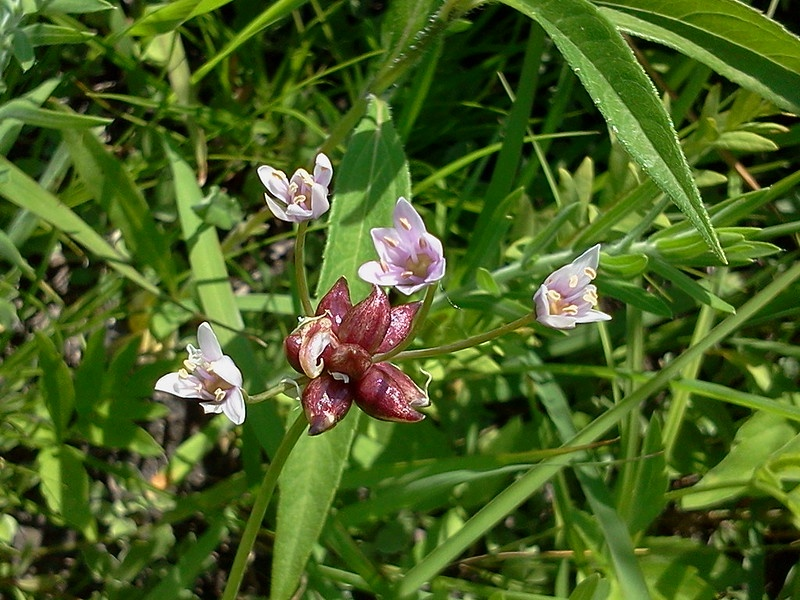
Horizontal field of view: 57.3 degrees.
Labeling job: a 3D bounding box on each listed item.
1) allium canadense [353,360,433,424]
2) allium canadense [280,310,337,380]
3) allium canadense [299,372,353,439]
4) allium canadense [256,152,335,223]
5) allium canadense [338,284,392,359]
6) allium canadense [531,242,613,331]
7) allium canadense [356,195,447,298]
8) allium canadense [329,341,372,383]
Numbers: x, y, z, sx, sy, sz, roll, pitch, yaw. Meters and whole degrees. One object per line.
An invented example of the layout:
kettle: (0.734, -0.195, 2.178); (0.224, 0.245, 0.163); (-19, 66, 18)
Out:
allium canadense: (-0.013, 0.258, 1.971); (0.197, 0.076, 0.141); (32, 60, 17)
allium canadense: (-0.217, 0.119, 1.940); (0.150, 0.133, 0.135); (-29, 63, -20)
allium canadense: (-0.193, 0.263, 1.955); (0.143, 0.077, 0.219); (9, 57, 6)
allium canadense: (-0.285, -0.335, 2.097); (0.202, 0.153, 0.218); (-18, 47, 11)
allium canadense: (-0.094, 0.064, 1.993); (0.132, 0.064, 0.190); (21, 100, -10)
allium canadense: (0.470, -0.032, 2.015); (0.198, 0.158, 0.243); (6, 56, 0)
allium canadense: (0.021, -0.132, 1.956); (0.219, 0.190, 0.242); (13, 57, 5)
allium canadense: (-0.136, 0.169, 1.996); (0.107, 0.099, 0.096); (-10, 16, -4)
